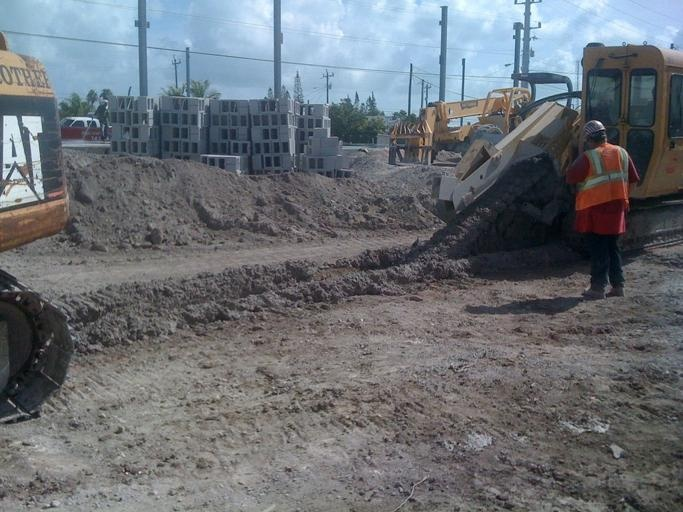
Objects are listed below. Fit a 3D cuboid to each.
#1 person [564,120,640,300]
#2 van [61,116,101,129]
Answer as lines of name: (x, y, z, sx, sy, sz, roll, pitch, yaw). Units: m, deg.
person: (3.330, -0.447, 7.664, 0.814, 1.963, 0.617, 2, 13, 13)
van: (-13.218, -6.761, 29.717, 1.897, 0.835, 1.036, -6, 23, -28)
